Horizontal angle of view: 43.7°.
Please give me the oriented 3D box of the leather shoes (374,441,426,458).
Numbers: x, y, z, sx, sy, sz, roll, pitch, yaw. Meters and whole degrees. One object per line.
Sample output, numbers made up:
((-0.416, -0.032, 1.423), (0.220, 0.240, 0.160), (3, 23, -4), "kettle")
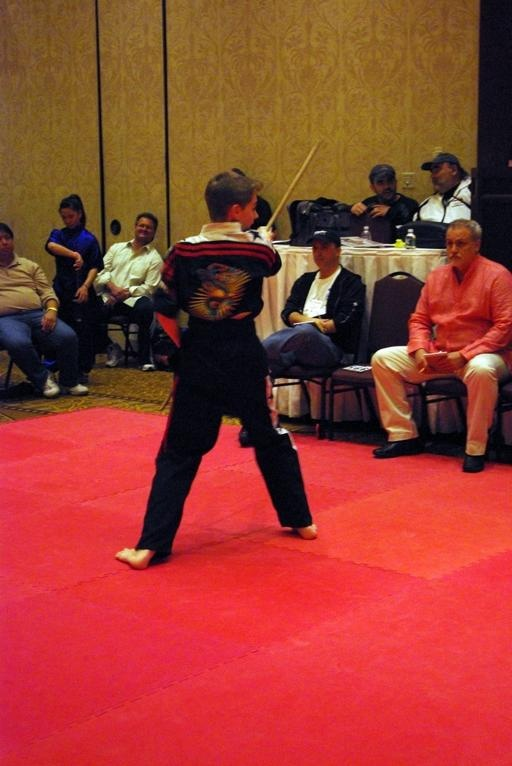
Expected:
((0.960, 0.437, 4.360), (0.363, 0.143, 0.119), (-1, -2, -22), "leather shoes")

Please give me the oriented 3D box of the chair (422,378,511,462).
((1.425, 0.149, 4.337), (0.547, 0.645, 0.697), (-1, 1, -42), "chair")

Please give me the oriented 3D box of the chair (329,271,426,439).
((0.880, -0.235, 4.654), (0.659, 1.162, 0.462), (-11, 13, -42), "chair")

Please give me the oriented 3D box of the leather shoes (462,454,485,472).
((1.337, 0.494, 3.913), (0.142, 0.099, 0.141), (0, 1, 9), "leather shoes")

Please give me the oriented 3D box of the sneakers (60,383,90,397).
((-1.832, 0.073, 6.434), (0.272, 0.116, 0.275), (0, 1, -16), "sneakers")

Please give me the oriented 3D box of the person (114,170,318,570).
((-0.122, -0.041, 2.505), (0.739, 1.494, 0.384), (0, 2, -18), "person")

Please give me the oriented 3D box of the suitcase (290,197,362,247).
((0.478, -1.371, 5.777), (0.581, 0.255, 0.679), (-6, -2, -21), "suitcase")

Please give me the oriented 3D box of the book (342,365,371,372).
((0.717, -0.098, 4.589), (0.207, 0.044, 0.164), (0, 1, 10), "book")

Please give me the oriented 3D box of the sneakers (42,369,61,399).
((-2.077, 0.018, 6.487), (0.141, 0.167, 0.398), (-2, 17, -3), "sneakers")

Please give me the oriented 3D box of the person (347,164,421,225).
((1.339, -1.966, 6.821), (0.931, 0.698, 0.525), (14, 28, 42), "person")
